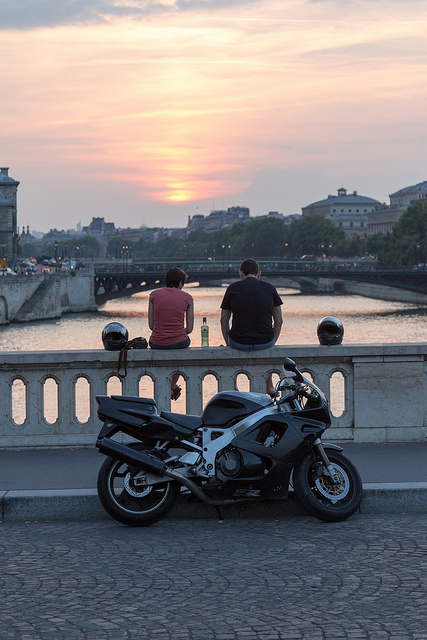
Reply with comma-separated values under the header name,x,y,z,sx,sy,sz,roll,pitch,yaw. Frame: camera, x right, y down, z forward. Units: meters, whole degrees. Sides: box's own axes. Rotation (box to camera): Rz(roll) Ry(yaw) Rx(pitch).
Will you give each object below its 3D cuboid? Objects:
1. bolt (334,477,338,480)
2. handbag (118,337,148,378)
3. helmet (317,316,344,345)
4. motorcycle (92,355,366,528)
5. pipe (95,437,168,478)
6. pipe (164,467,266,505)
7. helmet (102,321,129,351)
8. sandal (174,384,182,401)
name,x,y,z,sx,sy,sz,roll,pitch,yaw
bolt,0.673,0.874,7.238,0.017,0.005,0.016,-3,21,-8
handbag,-0.587,0.239,9.161,0.172,0.275,0.139,10,-10,46
helmet,0.828,0.056,9.326,0.160,0.172,0.218,0,-1,5
motorcycle,0.047,0.793,7.659,1.894,1.118,0.708,-2,-18,-3
pipe,-0.457,0.750,7.221,0.497,0.132,0.164,19,24,2
pipe,-0.015,0.923,7.298,0.543,0.191,0.289,-1,0,-4
helmet,-0.705,0.104,9.153,0.163,0.168,0.208,0,1,-8
sandal,-0.266,0.522,9.359,0.041,0.102,0.032,23,-15,-37
